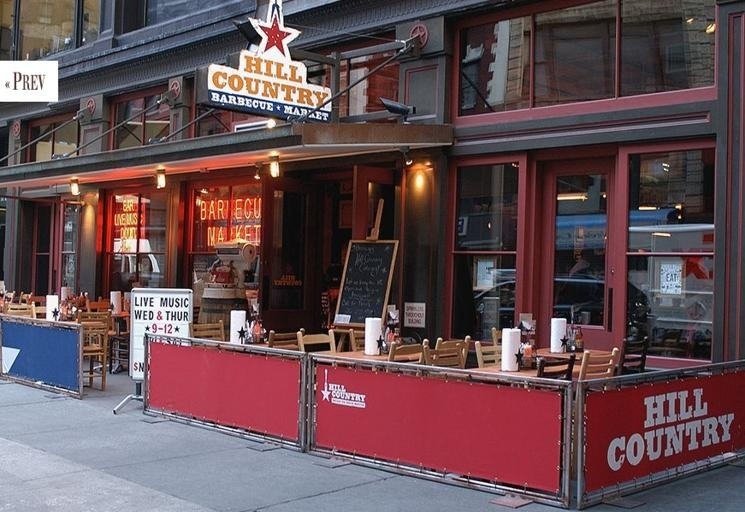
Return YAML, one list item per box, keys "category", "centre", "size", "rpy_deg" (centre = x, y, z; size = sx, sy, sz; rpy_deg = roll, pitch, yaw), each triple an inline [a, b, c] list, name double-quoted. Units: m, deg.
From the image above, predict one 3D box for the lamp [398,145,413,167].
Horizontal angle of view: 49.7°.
- category: "lamp"
  centre: [0.592, -1.780, 14.408]
  size: [0.257, 0.391, 0.514]
  rpy_deg: [1, 10, 10]

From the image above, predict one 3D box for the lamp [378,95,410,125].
- category: "lamp"
  centre: [0.454, -2.663, 14.647]
  size: [0.603, 0.452, 0.927]
  rpy_deg: [0, 10, 2]

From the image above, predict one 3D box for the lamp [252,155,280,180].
- category: "lamp"
  centre: [-2.090, -1.752, 16.024]
  size: [0.304, 0.510, 0.853]
  rpy_deg: [2, 1, -42]
